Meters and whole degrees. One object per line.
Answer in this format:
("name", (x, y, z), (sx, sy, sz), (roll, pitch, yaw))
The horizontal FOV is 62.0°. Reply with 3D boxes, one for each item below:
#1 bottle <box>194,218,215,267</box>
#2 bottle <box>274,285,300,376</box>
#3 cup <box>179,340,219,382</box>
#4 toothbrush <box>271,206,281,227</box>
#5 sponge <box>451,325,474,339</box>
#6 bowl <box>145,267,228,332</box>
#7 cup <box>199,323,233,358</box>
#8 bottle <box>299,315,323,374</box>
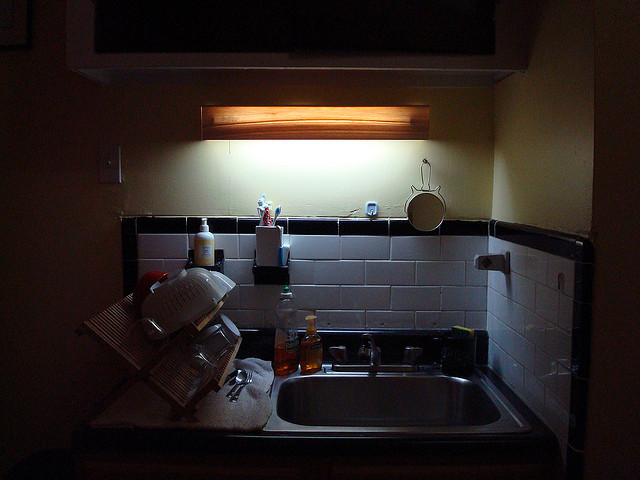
("bottle", (-0.490, 0.009, 2.254), (0.084, 0.192, 0.121), (2, 1, -13))
("bottle", (-0.142, 0.379, 2.233), (0.087, 0.359, 0.114), (4, 9, 3))
("cup", (-0.435, 0.436, 1.916), (0.148, 0.050, 0.104), (41, -51, -11))
("toothbrush", (-0.185, -0.106, 2.253), (0.019, 0.017, 0.125), (21, -42, 3))
("sponge", (0.593, 0.390, 2.208), (0.090, 0.054, 0.045), (3, 1, 16))
("bowl", (-0.475, 0.211, 1.865), (0.197, 0.208, 0.086), (-3, -51, 21))
("cup", (-0.385, 0.371, 2.032), (0.112, 0.132, 0.082), (-36, -8, 1))
("bottle", (-0.027, 0.439, 2.262), (0.088, 0.236, 0.148), (3, 1, 26))
